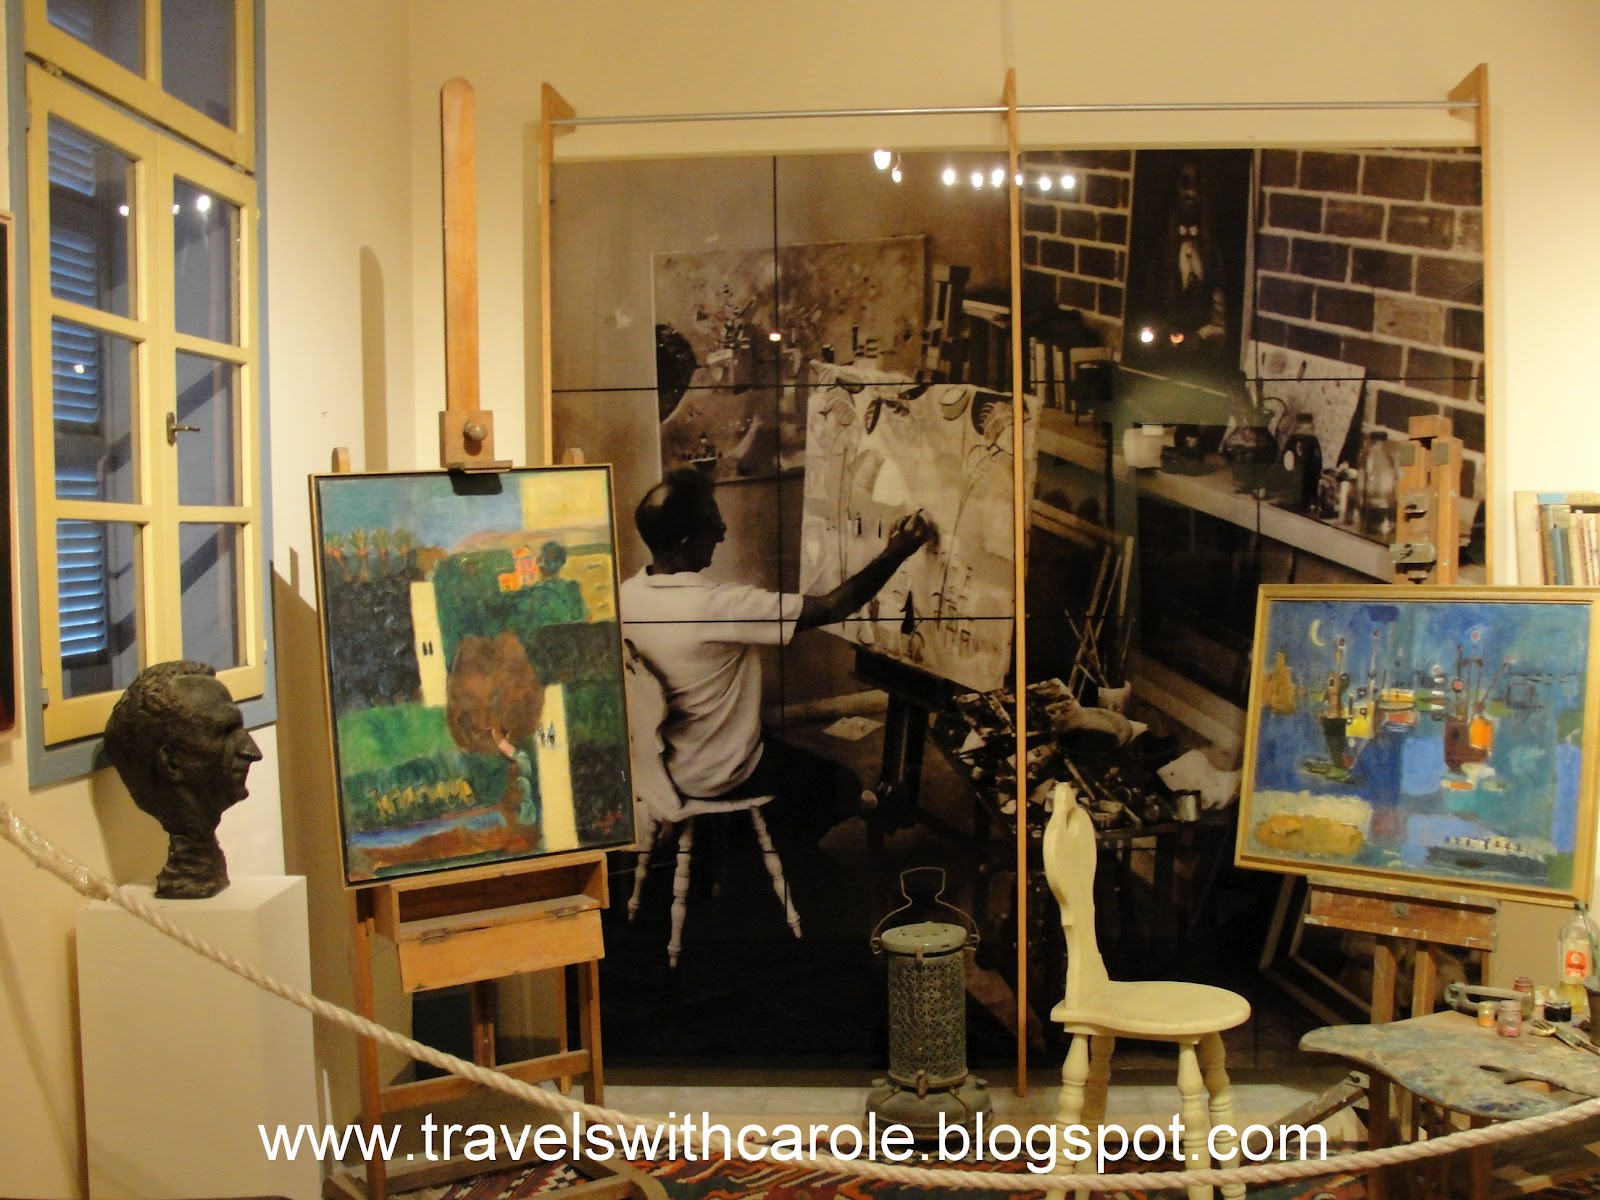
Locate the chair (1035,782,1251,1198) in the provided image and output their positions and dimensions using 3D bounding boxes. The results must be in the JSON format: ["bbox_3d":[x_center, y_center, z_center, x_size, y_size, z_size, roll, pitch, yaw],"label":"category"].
[{"bbox_3d":[0.910,1.020,3.708,0.510,1.013,0.470,0,5,22],"label":"chair"}]
